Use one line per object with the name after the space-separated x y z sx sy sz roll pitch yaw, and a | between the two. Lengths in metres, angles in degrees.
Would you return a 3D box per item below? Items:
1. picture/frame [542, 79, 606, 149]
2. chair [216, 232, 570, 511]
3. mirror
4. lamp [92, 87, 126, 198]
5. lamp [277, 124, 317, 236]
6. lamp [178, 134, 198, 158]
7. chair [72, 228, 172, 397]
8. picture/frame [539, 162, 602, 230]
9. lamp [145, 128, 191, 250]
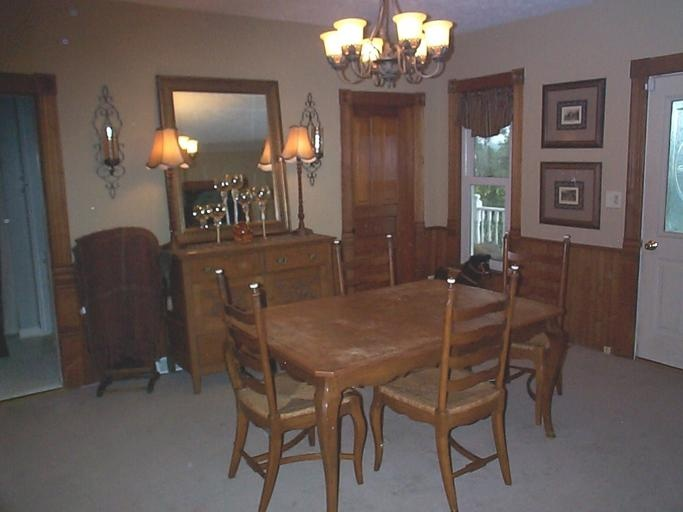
2.267 -1.388 5.138 0.053 0.738 0.673 -3 5 -39 | picture/frame
0.336 0.735 3.507 2.178 1.483 1.160 -7 10 -20 | chair
-1.170 -0.904 5.028 1.436 2.059 0.131 -6 5 -32 | mirror
-2.040 -1.003 4.669 0.263 0.964 0.065 -7 10 -23 | lamp
-0.421 -0.768 5.305 0.317 1.055 0.554 -4 9 -6 | lamp
-1.415 -1.032 4.947 0.231 0.253 0.150 1 11 10 | lamp
-1.894 0.448 4.626 0.706 1.373 0.423 -7 10 -24 | chair
2.284 -0.612 5.243 0.049 0.742 0.595 -7 10 -44 | picture/frame
-1.470 -0.644 4.757 0.441 1.019 0.472 -6 9 -15 | lamp
